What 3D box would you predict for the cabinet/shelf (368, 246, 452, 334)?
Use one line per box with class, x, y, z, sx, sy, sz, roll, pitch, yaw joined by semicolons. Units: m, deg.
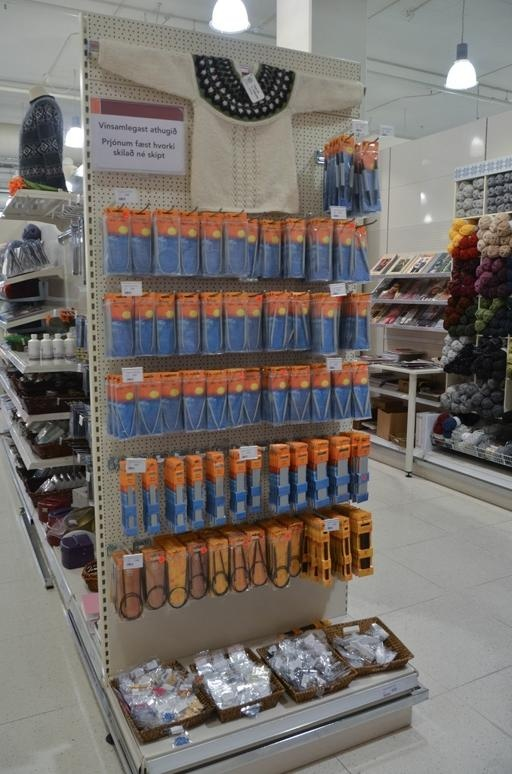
cabinet/shelf;1.656;-1.022;6.282;0.406;0.806;1.189;-7;12;-28
